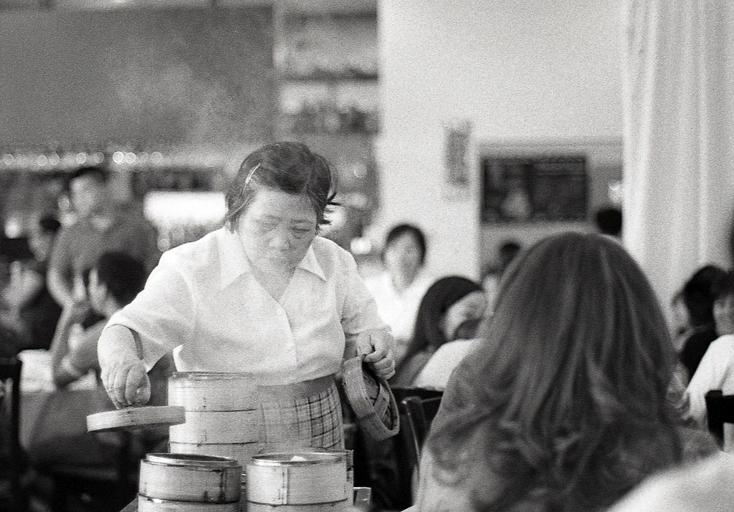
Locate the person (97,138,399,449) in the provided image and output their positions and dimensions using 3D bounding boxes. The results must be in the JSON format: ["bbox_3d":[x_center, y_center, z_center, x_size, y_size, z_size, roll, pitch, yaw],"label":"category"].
[{"bbox_3d":[-0.399,0.124,4.196,0.935,0.964,0.406,-2,3,-32],"label":"person"}]
